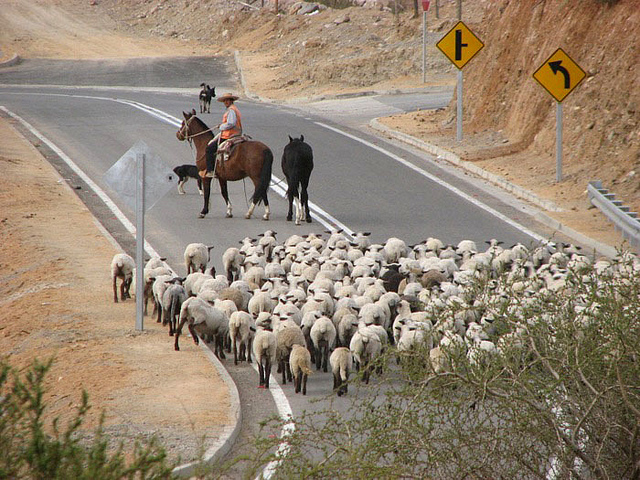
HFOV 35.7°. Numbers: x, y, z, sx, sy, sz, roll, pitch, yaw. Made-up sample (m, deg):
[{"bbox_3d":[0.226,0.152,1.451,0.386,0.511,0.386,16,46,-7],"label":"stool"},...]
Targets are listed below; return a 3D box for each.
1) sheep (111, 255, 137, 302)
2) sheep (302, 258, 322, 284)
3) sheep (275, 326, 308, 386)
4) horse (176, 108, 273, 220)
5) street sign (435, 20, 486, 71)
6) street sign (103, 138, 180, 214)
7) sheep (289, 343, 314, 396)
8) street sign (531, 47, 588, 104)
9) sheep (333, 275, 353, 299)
[{"bbox_3d":[-4.532,0.913,23.062,0.587,1.051,0.816,-6,19,-12],"label":"sheep"},{"bbox_3d":[-0.160,0.737,23.298,0.274,0.348,0.680,21,25,-1],"label":"sheep"},{"bbox_3d":[-0.588,2.182,19.830,0.544,1.024,1.835,10,-18,-6],"label":"sheep"},{"bbox_3d":[-2.989,-2.311,31.504,4.454,3.265,1.057,7,9,38],"label":"horse"},{"bbox_3d":[5.232,-7.370,37.289,1.937,1.811,0.189,8,17,34],"label":"street sign"},{"bbox_3d":[-3.805,-1.317,21.152,1.735,1.684,0.063,-1,3,-34],"label":"street sign"},{"bbox_3d":[-0.369,2.515,18.982,0.395,0.877,0.822,-2,19,-2],"label":"sheep"},{"bbox_3d":[7.283,-5.026,30.420,1.836,1.682,0.079,8,15,42],"label":"street sign"},{"bbox_3d":[0.524,1.069,21.934,0.239,0.309,0.581,13,24,4],"label":"sheep"}]
